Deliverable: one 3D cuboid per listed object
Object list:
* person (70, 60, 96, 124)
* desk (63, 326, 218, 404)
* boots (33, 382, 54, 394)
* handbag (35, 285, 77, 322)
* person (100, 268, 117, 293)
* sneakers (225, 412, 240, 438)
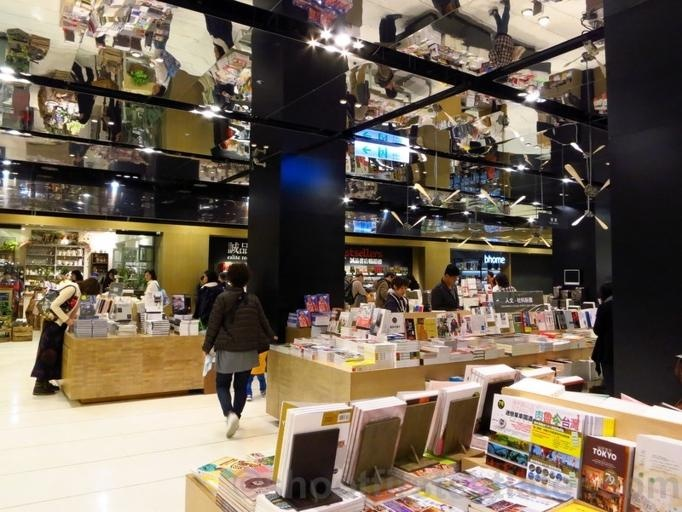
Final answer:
[{"bbox_3d":[-2.967,-1.917,5.909,0.258,0.306,1.150,1,-17,-22],"label":"person"},{"bbox_3d":[-2.997,1.649,7.421,1.776,0.865,1.020,-8,-16,27],"label":"desk"},{"bbox_3d":[-4.240,1.886,7.167,0.282,0.177,0.183,-2,2,-31],"label":"boots"},{"bbox_3d":[-4.090,0.690,7.222,0.350,0.518,0.392,18,4,15],"label":"handbag"},{"bbox_3d":[-6.534,0.689,14.121,0.412,0.638,1.628,-2,2,-25],"label":"person"},{"bbox_3d":[-1.184,1.850,5.449,0.108,0.293,0.124,10,27,-19],"label":"sneakers"}]
